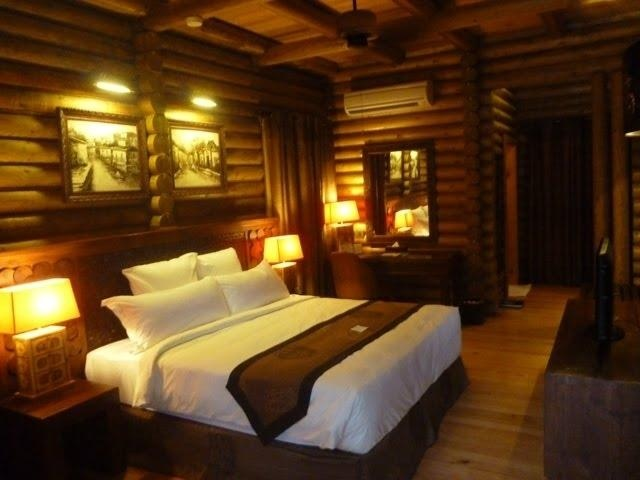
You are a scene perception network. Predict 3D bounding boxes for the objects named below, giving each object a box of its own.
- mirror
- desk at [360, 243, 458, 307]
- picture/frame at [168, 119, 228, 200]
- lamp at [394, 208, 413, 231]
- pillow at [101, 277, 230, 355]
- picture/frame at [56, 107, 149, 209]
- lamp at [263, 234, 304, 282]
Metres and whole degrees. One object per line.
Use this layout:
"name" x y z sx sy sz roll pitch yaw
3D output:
"mirror" 1.274 -0.755 7.630 1.452 2.185 0.202 -2 4 29
"desk" 1.333 0.395 8.031 1.973 1.352 1.168 1 0 16
"picture/frame" -1.417 -0.921 5.683 0.072 0.866 0.944 -1 3 30
"lamp" 1.289 -0.312 7.661 0.279 0.322 0.304 -2 5 -7
"pillow" -1.390 0.604 4.591 0.472 0.443 1.162 25 23 32
"picture/frame" -2.098 -0.792 4.736 0.089 0.988 0.967 1 4 35
"lamp" -0.486 0.217 6.345 0.408 0.632 0.463 -2 -2 -5
